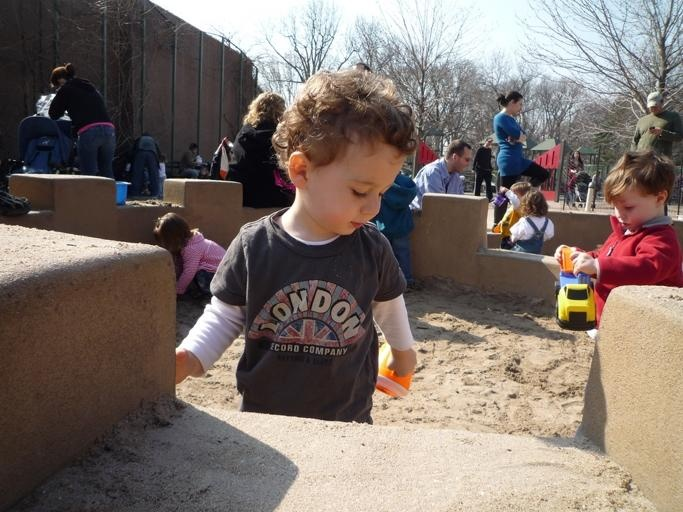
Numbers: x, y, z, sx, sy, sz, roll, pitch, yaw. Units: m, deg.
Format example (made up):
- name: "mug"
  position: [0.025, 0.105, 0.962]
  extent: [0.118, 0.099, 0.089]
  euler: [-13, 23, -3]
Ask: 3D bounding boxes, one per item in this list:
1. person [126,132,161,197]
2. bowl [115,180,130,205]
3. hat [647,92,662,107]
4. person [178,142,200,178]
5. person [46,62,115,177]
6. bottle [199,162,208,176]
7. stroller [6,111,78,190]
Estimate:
- name: "person"
  position: [-3.109, -1.342, 10.122]
  extent: [0.306, 1.088, 0.380]
  euler: [5, -15, -29]
- name: "bowl"
  position: [-2.038, -0.544, 5.922]
  extent: [0.087, 0.229, 0.674]
  euler: [-2, 14, -18]
- name: "hat"
  position: [4.292, -2.071, 8.746]
  extent: [0.175, 0.202, 0.514]
  euler: [7, 14, 25]
- name: "person"
  position: [-3.040, -1.699, 12.856]
  extent: [0.401, 1.002, 0.323]
  euler: [2, -6, -20]
- name: "person"
  position: [-2.853, -1.355, 7.033]
  extent: [0.642, 1.056, 0.327]
  euler: [-5, 12, -28]
- name: "bottle"
  position: [-2.673, -1.603, 12.383]
  extent: [0.190, 0.330, 0.180]
  euler: [5, 5, 0]
- name: "stroller"
  position: [-3.730, -1.180, 7.832]
  extent: [0.632, 0.935, 0.793]
  euler: [-4, -14, -3]
